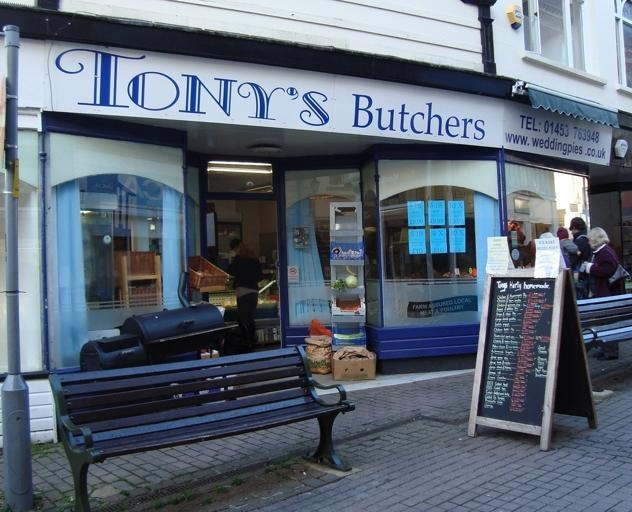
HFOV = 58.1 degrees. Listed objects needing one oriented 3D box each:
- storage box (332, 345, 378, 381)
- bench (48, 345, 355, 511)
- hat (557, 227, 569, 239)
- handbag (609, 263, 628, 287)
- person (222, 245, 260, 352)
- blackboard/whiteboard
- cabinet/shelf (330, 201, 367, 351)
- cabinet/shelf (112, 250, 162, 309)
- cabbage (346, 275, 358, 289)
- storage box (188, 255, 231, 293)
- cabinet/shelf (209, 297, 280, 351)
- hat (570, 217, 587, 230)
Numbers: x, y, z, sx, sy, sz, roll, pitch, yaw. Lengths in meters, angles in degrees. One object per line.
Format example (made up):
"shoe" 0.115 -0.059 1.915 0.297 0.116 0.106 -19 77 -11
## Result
"storage box" 0.535 1.516 8.053 0.467 0.289 0.468 0 -3 2
"bench" -0.920 1.381 4.594 2.135 1.087 0.712 -4 3 -31
"hat" 4.094 -0.379 9.510 0.215 0.211 0.188 -11 11 -23
"handbag" 4.421 0.298 8.361 0.253 0.405 0.412 -11 -10 23
"person" -1.171 0.665 9.428 0.529 1.823 0.412 -3 2 -6
"blackboard/whiteboard" 1.906 0.960 5.484 0.832 1.582 0.557 -1 3 27
"cabinet/shelf" 0.465 0.278 8.510 0.526 2.175 0.686 -2 2 4
"cabinet/shelf" -2.084 0.281 6.973 0.572 0.713 0.584 0 5 6
"cabbage" 0.524 0.394 8.452 0.161 0.179 0.211 -1 3 35
"storage box" -1.560 0.201 7.850 0.595 0.502 0.619 -6 14 -38
"cabinet/shelf" -1.191 0.976 10.103 0.545 1.428 1.565 -19 -11 10
"hat" 4.297 -0.515 9.331 0.218 0.253 0.275 1 9 3
